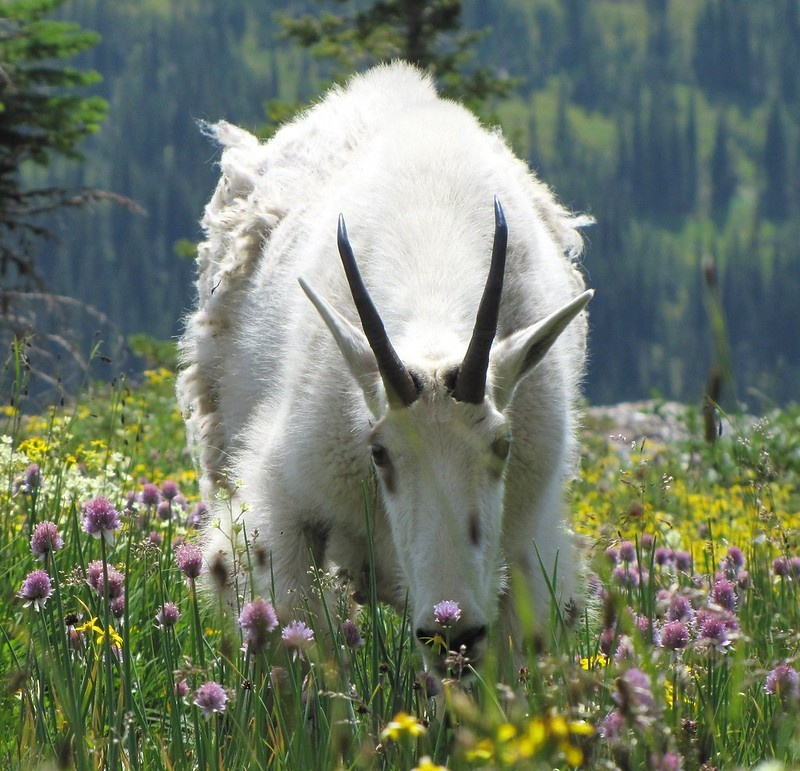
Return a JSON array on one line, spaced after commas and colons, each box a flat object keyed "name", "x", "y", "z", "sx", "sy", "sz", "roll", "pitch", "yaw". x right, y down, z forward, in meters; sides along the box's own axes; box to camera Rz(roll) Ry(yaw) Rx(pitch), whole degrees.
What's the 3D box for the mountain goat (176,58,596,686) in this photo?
[{"name": "mountain goat", "x": -0.079, "y": -0.155, "z": 9.733, "sx": 1.418, "sy": 2.297, "sz": 3.990, "roll": 2, "pitch": 14, "yaw": -8}]
